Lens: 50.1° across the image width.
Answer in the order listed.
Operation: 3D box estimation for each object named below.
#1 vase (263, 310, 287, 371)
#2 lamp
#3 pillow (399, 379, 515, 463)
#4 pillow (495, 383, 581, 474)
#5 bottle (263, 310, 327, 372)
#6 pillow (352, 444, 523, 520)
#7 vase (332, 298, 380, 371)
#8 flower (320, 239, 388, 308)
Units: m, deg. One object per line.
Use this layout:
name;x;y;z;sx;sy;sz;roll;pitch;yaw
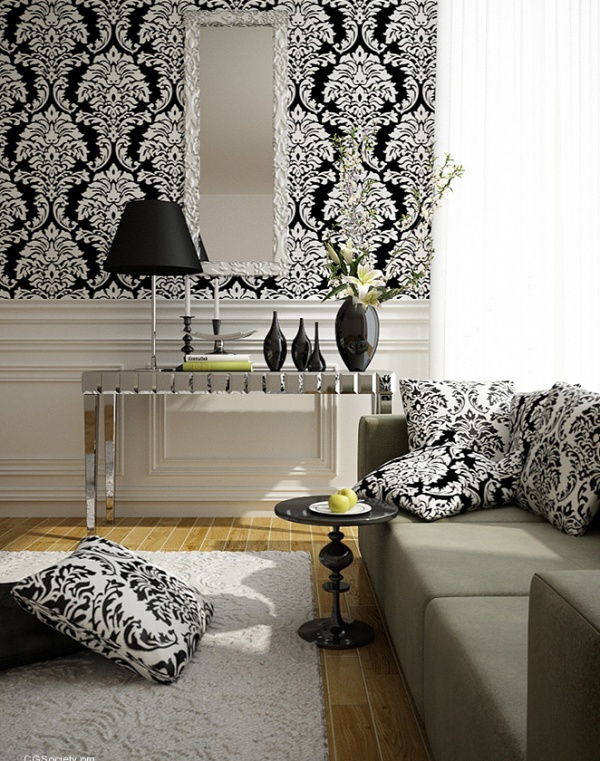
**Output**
vase;-0.117;-0.179;2.944;0.100;0.259;0.256;0;0;-3
lamp;-0.682;-0.468;3.000;0.426;0.696;0.487;0;0;-12
pillow;0.515;0.121;2.259;0.455;0.401;0.233;1;-9;6
pillow;0.707;0.139;2.002;0.084;0.273;0.287;11;5;10
bottle;-0.022;-0.191;3.100;0.328;0.312;0.120;1;-3;-8
pillow;0.424;0.289;1.966;0.277;0.083;0.265;-16;13;-20
vase;0.258;-0.201;2.833;0.166;0.315;0.173;0;0;-27
flower;0.201;-0.472;2.875;0.344;0.162;0.375;18;10;-30
